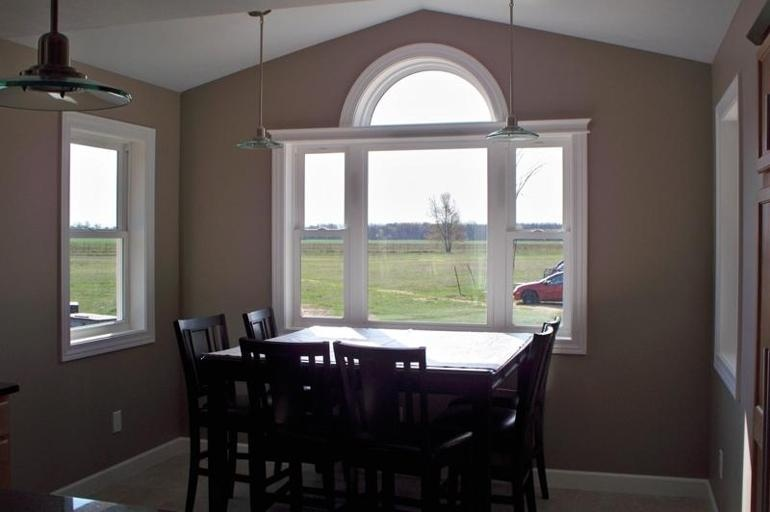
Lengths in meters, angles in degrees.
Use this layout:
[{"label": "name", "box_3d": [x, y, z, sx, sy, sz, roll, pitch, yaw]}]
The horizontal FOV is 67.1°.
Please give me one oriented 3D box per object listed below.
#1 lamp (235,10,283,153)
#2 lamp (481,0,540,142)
[{"label": "lamp", "box_3d": [-0.977, -1.305, 4.474, 0.303, 1.039, 1.102, -1, 3, -13]}, {"label": "lamp", "box_3d": [0.920, -1.335, 4.127, 0.314, 1.088, 1.009, 0, 3, 14]}]
